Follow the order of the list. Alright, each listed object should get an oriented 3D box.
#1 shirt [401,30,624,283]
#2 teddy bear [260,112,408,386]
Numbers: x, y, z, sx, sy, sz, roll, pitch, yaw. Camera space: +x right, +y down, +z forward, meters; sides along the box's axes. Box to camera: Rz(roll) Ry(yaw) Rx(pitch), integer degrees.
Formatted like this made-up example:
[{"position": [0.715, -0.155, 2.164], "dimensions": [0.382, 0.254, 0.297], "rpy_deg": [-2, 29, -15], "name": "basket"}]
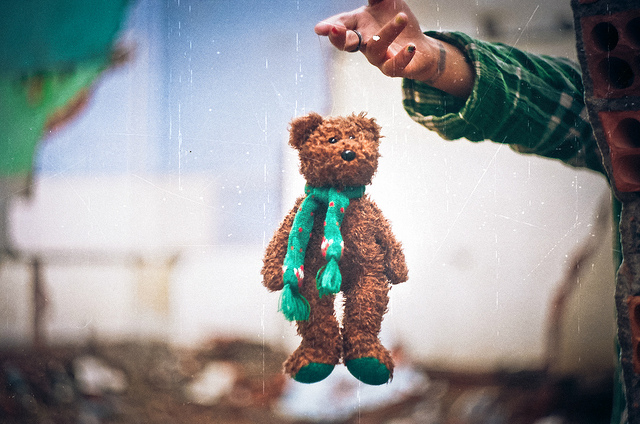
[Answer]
[{"position": [0.994, -0.555, 6.475], "dimensions": [1.131, 0.721, 0.095], "rpy_deg": [5, 6, -5], "name": "shirt"}, {"position": [0.088, 0.176, 6.467], "dimensions": [0.728, 1.564, 0.381], "rpy_deg": [0, 19, 1], "name": "teddy bear"}]
